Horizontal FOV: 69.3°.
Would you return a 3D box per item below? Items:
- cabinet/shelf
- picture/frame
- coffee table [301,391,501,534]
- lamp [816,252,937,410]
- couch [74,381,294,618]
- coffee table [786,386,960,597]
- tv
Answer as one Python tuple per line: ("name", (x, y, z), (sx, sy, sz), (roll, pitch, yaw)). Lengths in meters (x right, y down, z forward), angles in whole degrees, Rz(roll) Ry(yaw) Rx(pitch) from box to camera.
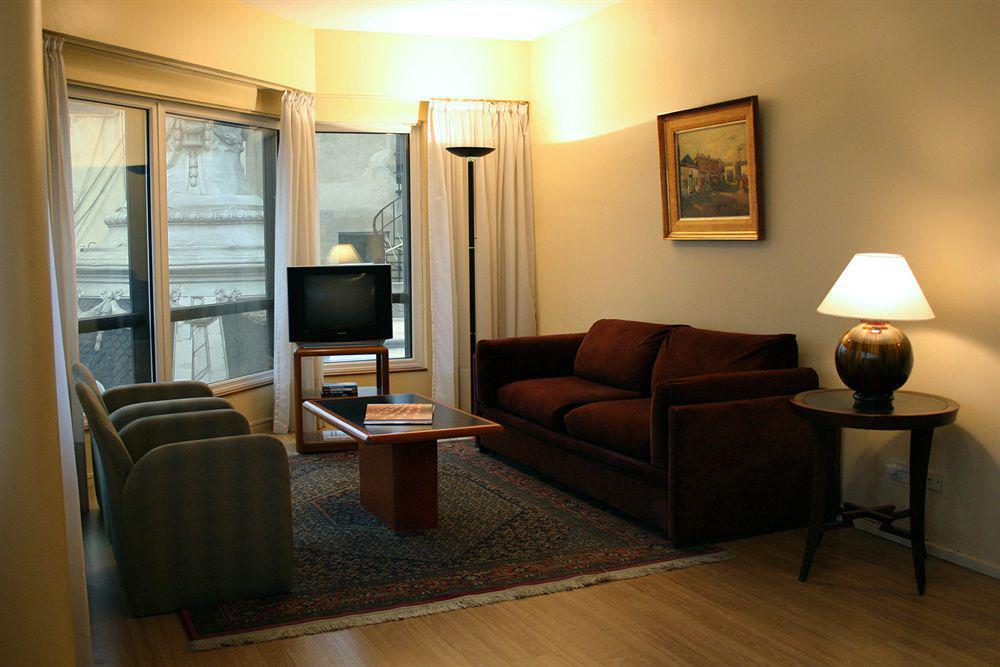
("cabinet/shelf", (-1.384, 0.615, 6.063), (0.648, 0.681, 0.309), (-1, -7, -20))
("picture/frame", (1.453, -1.131, 5.059), (0.169, 0.925, 0.928), (-5, 11, -26))
("coffee table", (-0.543, 0.759, 4.386), (0.732, 0.567, 1.236), (-4, 8, -29))
("lamp", (1.914, -0.022, 3.643), (0.419, 0.739, 0.397), (-3, 11, -13))
("couch", (-1.755, 0.648, 3.822), (0.949, 0.978, 1.255), (0, 11, -36))
("coffee table", (1.920, 0.789, 3.797), (0.853, 0.821, 0.824), (-4, -7, 40))
("tv", (-1.366, -0.212, 6.314), (1.161, 0.800, 0.608), (0, -3, -10))
